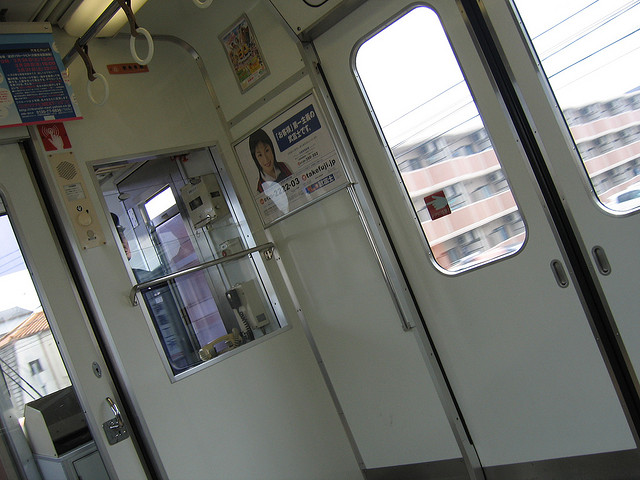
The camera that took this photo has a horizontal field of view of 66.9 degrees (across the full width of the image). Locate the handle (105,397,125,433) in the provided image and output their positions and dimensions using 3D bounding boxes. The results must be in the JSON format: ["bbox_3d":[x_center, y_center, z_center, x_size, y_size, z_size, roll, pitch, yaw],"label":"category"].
[{"bbox_3d":[-1.194,1.010,2.823,0.069,0.196,0.057,-17,-1,-4],"label":"handle"}]

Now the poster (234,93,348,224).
[{"bbox_3d":[-0.167,-0.582,3.304,0.717,0.632,0.071,-28,-4,43],"label":"poster"}]

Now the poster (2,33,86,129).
[{"bbox_3d":[-1.669,-0.954,2.901,0.490,0.584,0.041,-19,2,-34],"label":"poster"}]

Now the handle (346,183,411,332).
[{"bbox_3d":[0.374,0.108,3.111,0.133,1.002,0.102,-17,-2,28],"label":"handle"}]

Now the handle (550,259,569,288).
[{"bbox_3d":[1.329,0.184,2.684,0.065,0.170,0.012,-17,-2,22],"label":"handle"}]
